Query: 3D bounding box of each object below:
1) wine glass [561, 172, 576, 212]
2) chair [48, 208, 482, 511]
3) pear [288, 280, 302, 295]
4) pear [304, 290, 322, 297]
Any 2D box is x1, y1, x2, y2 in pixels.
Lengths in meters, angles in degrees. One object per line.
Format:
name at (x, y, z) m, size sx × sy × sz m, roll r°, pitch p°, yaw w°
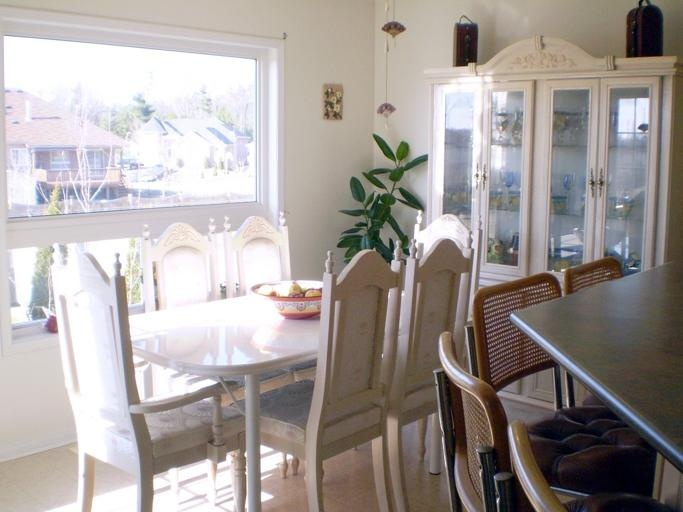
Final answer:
wine glass at (1.425, -0.397, 3.510) m, size 0.077 × 0.227 × 0.030 m, roll 0°, pitch 11°, yaw 22°
chair at (-0.399, 0.525, 2.622) m, size 0.743 × 1.054 × 1.290 m, roll 11°, pitch 14°, yaw 42°
pear at (-0.227, 0.153, 2.802) m, size 0.059 × 0.062 × 0.060 m, roll -10°, pitch 14°, yaw -30°
pear at (-0.132, 0.184, 2.782) m, size 0.049 × 0.030 × 0.045 m, roll -2°, pitch 6°, yaw 23°
